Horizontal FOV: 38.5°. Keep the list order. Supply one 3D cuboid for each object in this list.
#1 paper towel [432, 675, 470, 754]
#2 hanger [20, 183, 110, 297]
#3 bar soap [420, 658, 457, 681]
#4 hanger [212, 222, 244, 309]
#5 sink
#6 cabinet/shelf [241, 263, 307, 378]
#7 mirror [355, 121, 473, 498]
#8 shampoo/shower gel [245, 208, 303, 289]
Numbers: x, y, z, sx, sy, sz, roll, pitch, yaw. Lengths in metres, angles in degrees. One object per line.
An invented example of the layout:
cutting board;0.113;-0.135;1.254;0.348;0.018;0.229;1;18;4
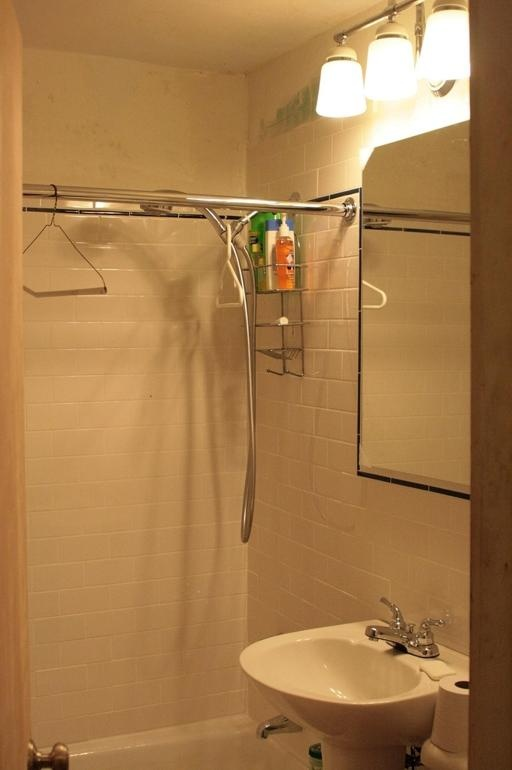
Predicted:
paper towel;0.335;0.578;1.268;0.042;0.106;0.070;0;-3;-9
hanger;-0.598;-0.422;2.312;0.261;0.300;0.129;0;-3;-16
bar soap;0.364;0.572;1.473;0.046;0.010;0.045;-2;6;-25
hanger;-0.105;-0.378;2.362;0.077;0.274;0.092;0;9;-29
sink;0.196;0.585;1.624;0.541;0.178;0.568;0;-1;-17
cabinet/shelf;0.064;-0.205;2.308;0.143;0.417;0.387;-2;3;-19
mirror;0.366;-0.175;1.749;0.102;0.858;0.512;0;-3;-12
shampoo/shower gel;0.065;-0.402;2.206;0.146;0.256;0.243;0;-3;-8
